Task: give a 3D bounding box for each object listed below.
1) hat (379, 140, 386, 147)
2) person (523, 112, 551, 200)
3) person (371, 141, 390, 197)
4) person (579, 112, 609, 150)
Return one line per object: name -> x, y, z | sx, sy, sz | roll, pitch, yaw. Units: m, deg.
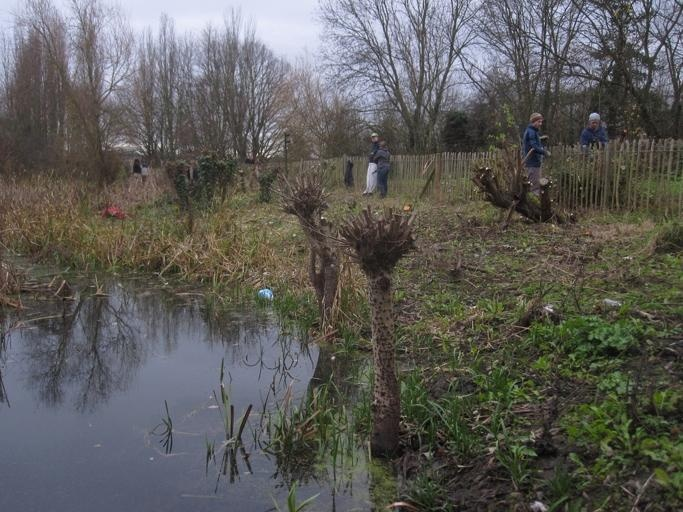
hat -> 1.158, -3.235, 21.280 | 0.171, 0.178, 0.272 | -1, 7, 2
person -> 4.340, -2.323, 16.907 | 0.502, 1.850, 2.844 | 0, 7, 14
person -> 1.143, -2.550, 21.685 | 0.426, 1.589, 1.354 | -1, 6, 3
person -> 6.002, -2.957, 17.865 | 0.607, 0.974, 0.565 | 2, 2, -43
